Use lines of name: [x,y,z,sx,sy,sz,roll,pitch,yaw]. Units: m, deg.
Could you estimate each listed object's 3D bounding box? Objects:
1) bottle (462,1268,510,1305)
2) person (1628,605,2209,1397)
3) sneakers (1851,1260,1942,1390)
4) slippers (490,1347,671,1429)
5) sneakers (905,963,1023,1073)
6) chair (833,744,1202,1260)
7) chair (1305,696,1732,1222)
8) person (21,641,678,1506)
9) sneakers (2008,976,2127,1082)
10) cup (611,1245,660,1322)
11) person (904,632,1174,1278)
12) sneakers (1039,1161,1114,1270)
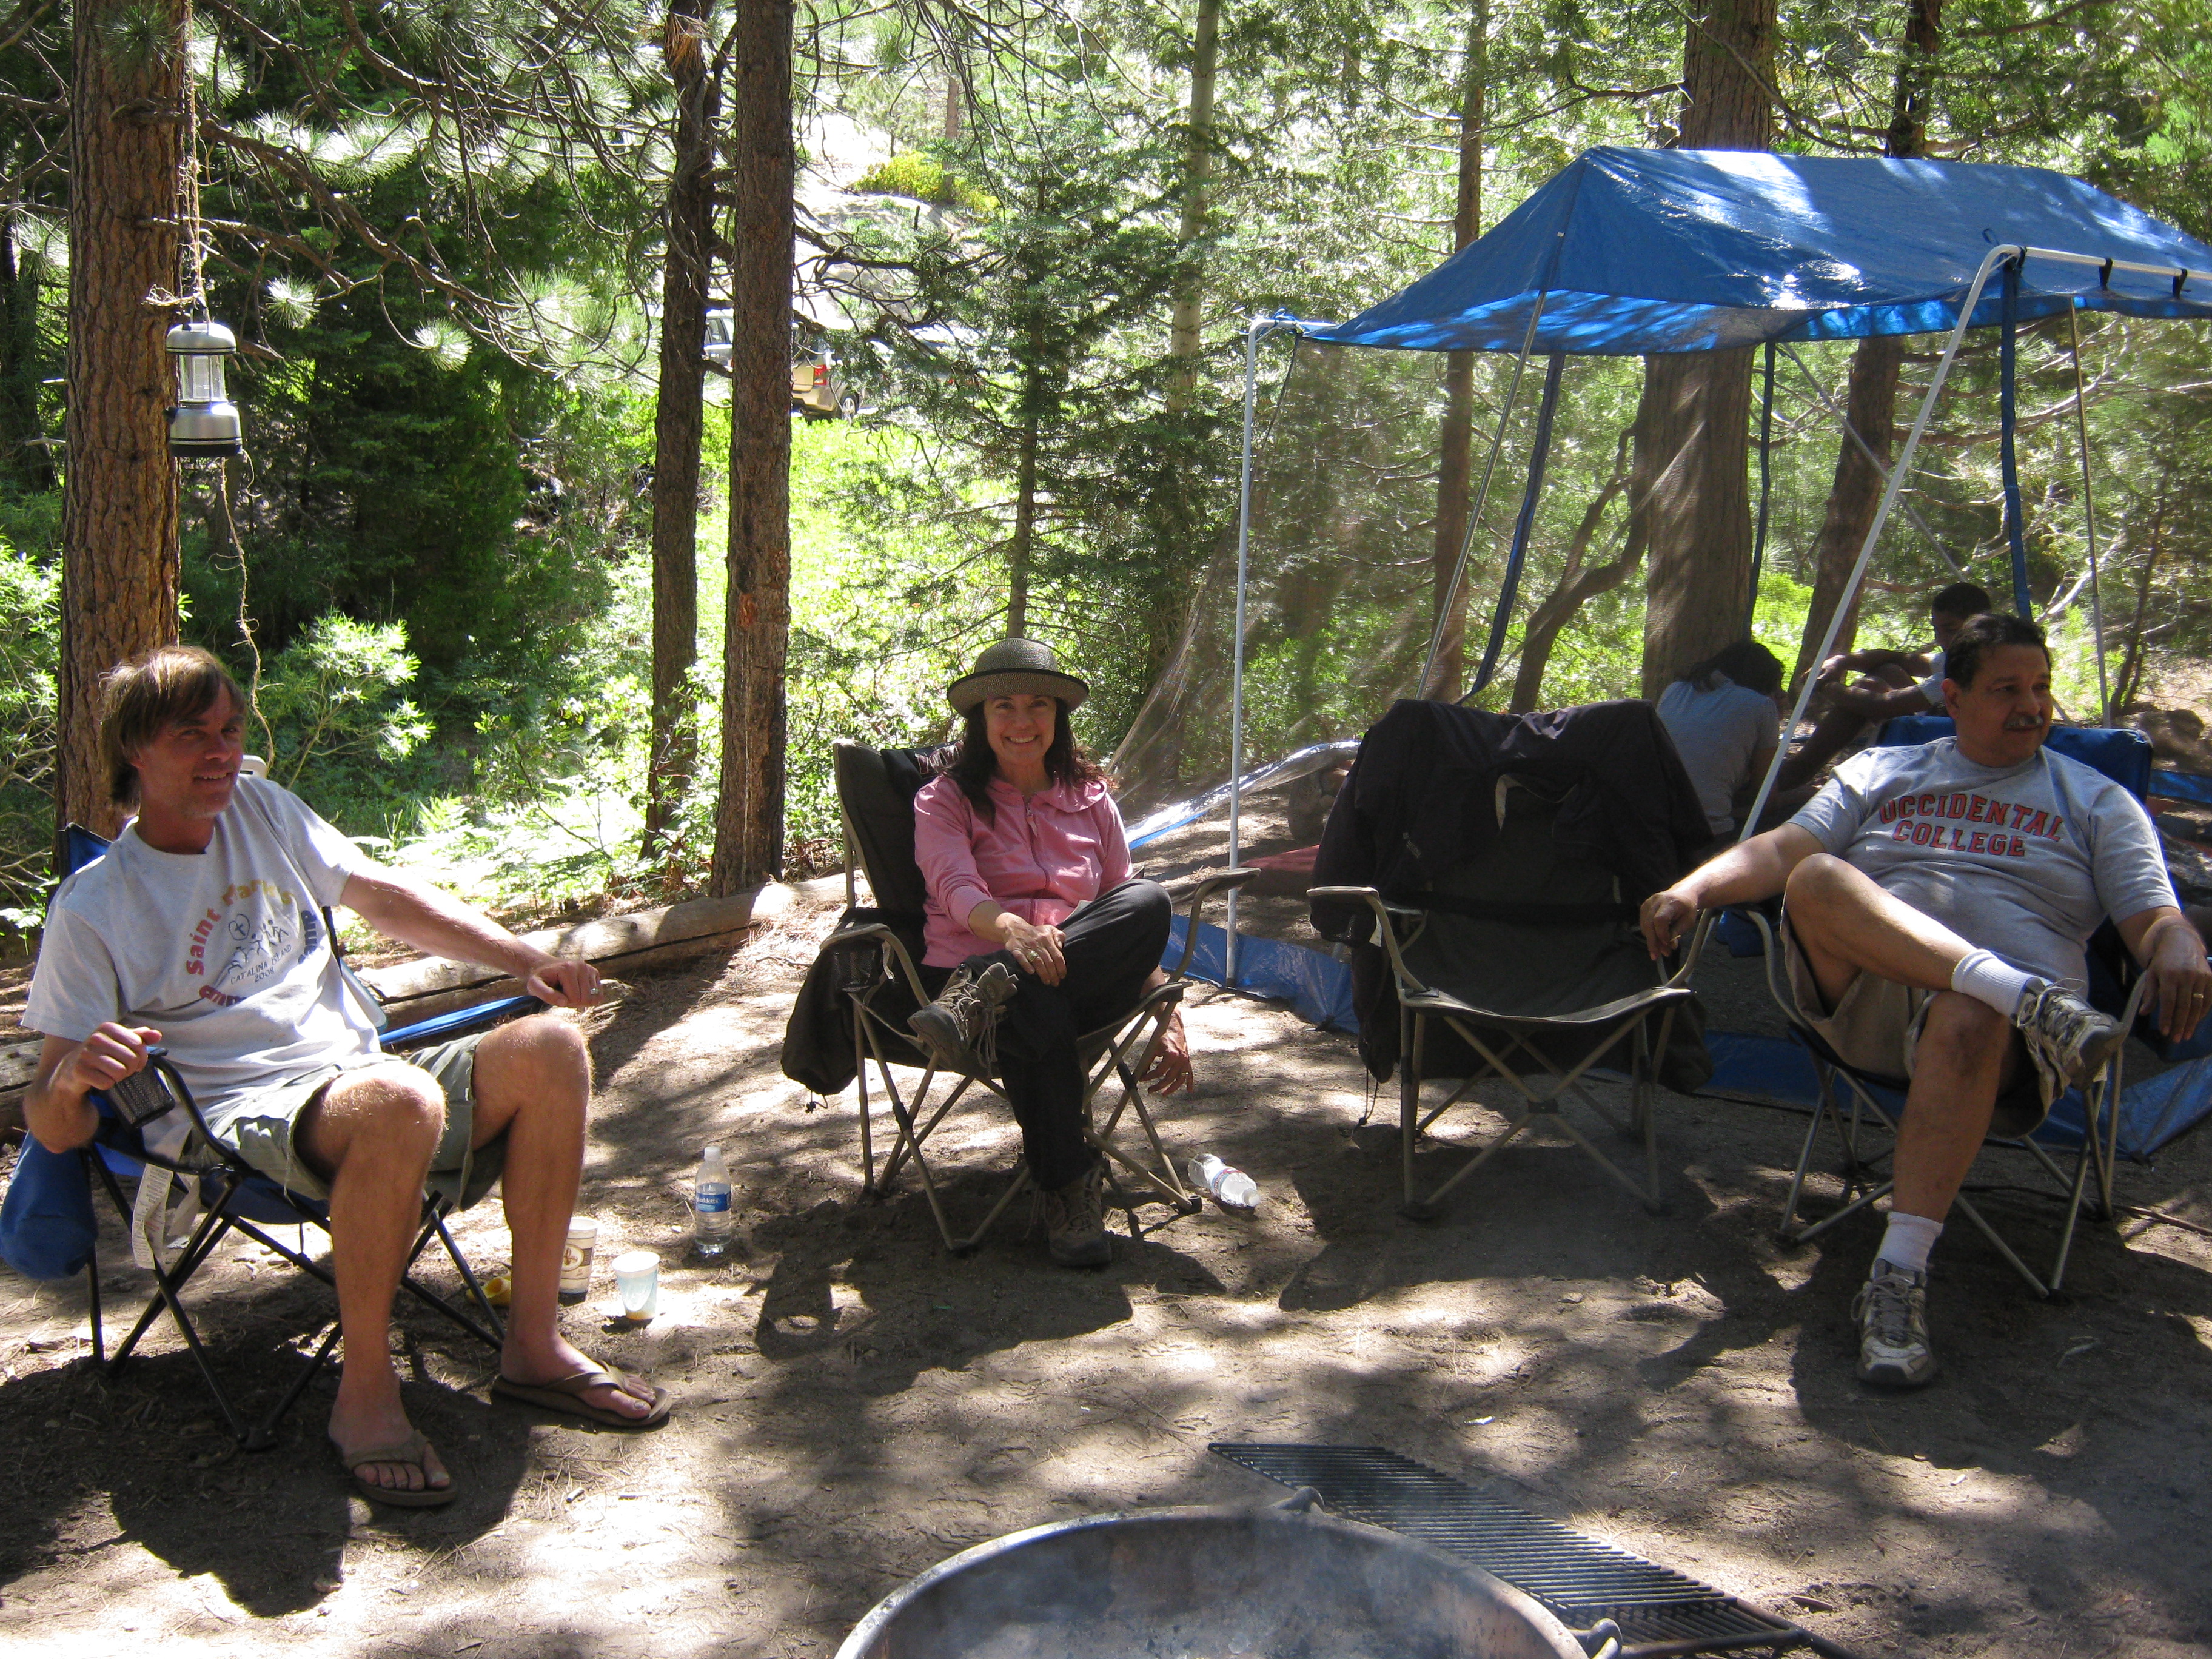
bottle: [-1.459,1.085,5.026,0.104,0.052,0.121,6,14,-2]
person: [1.993,0.292,4.999,0.968,1.555,1.118,-1,14,-19]
sneakers: [1.720,1.065,4.598,0.176,0.234,0.245,9,14,21]
slippers: [-1.108,1.200,4.524,0.304,0.083,0.164,7,20,14]
sneakers: [-0.328,0.459,5.026,0.162,0.137,0.387,-36,-9,-13]
chair: [-0.246,0.391,5.397,0.917,1.113,0.911,1,7,-4]
chair: [1.124,0.307,5.604,1.112,1.239,0.943,-2,14,2]
person: [-1.618,0.457,4.455,1.140,1.602,0.898,4,14,2]
sneakers: [2.074,0.457,4.610,0.215,0.249,0.215,13,17,35]
cup: [-1.112,1.084,5.022,0.124,0.129,0.123,3,2,0]
person: [-0.149,0.269,5.353,0.700,1.426,0.922,2,14,-5]
sneakers: [-0.074,0.931,5.145,0.183,0.224,0.170,5,14,7]
